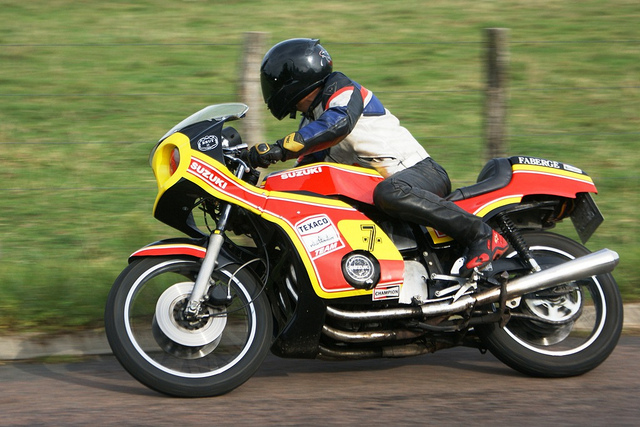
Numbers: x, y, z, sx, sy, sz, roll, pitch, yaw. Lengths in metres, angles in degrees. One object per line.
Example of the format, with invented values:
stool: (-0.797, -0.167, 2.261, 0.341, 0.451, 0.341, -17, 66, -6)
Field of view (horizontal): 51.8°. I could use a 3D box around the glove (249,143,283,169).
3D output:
glove: (-0.441, -0.454, 5.297, 0.265, 0.224, 0.155, -5, 33, -10)
